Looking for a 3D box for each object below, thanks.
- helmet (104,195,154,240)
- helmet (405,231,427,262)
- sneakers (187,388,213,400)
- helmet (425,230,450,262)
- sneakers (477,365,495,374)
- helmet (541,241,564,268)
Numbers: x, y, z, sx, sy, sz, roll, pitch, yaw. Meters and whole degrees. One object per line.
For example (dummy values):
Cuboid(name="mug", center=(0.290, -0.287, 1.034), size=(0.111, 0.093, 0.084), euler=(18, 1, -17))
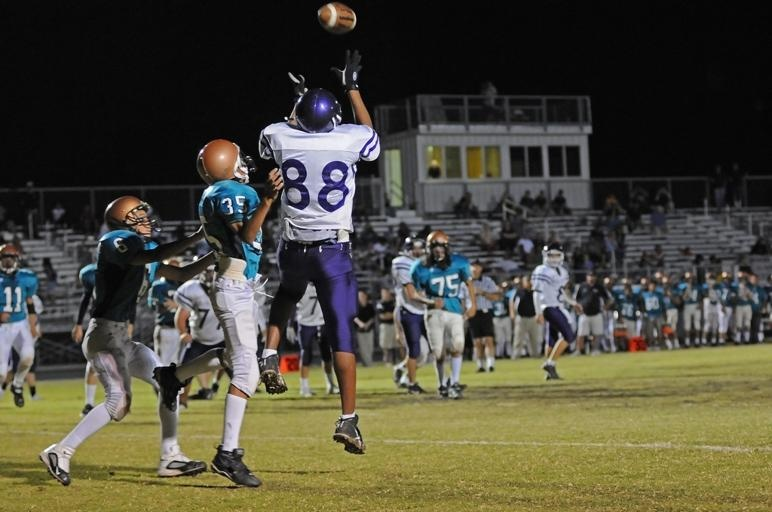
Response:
Cuboid(name="helmet", center=(-3.440, -0.542, 16.869), size=(0.641, 0.484, 0.482), euler=(-8, 11, -8))
Cuboid(name="helmet", center=(0.563, -0.214, 22.331), size=(0.443, 0.532, 0.553), euler=(3, -9, 0))
Cuboid(name="sneakers", center=(-3.376, 2.527, 23.245), size=(0.558, 0.217, 0.181), euler=(0, 10, 2))
Cuboid(name="helmet", center=(0.840, -0.167, 21.351), size=(0.383, 0.486, 0.502), euler=(0, -5, -4))
Cuboid(name="sneakers", center=(2.015, 2.307, 25.746), size=(0.379, 0.151, 0.127), euler=(-7, -2, 25))
Cuboid(name="helmet", center=(3.127, -0.017, 23.613), size=(0.370, 0.457, 0.543), euler=(0, -1, 3))
